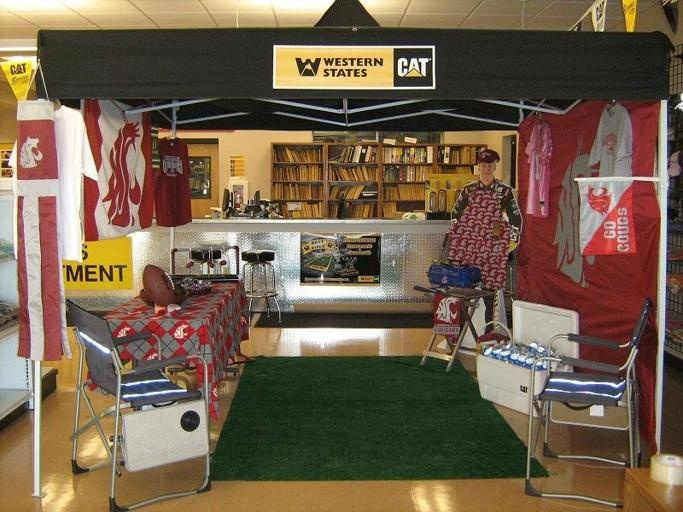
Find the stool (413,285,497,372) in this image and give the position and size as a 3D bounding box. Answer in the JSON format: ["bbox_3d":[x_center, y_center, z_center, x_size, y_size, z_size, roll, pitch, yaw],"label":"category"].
[{"bbox_3d":[1.146,0.754,5.929,0.732,0.682,0.729,3,-4,-7],"label":"stool"}]

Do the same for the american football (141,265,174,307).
[{"bbox_3d":[-1.463,0.262,4.575,0.245,0.344,0.106,-28,-7,-11],"label":"american football"}]

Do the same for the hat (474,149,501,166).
[{"bbox_3d":[1.684,-1.100,6.555,0.254,0.122,0.313,3,25,8],"label":"hat"}]

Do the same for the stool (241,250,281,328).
[{"bbox_3d":[-1.133,0.420,7.967,0.943,0.976,0.933,-2,5,-10],"label":"stool"}]

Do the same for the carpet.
[{"bbox_3d":[0.200,1.289,4.980,2.317,0.074,2.339,0,9,-2],"label":"carpet"}]

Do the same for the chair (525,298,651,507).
[{"bbox_3d":[1.695,0.891,4.012,0.816,1.245,1.284,6,10,27],"label":"chair"}]

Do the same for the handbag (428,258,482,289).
[{"bbox_3d":[1.201,0.219,5.998,0.290,0.179,0.375,-1,5,-15],"label":"handbag"}]

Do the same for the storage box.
[{"bbox_3d":[1.533,0.819,4.649,0.744,0.799,0.708,7,8,34],"label":"storage box"}]

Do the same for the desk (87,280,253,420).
[{"bbox_3d":[-1.605,0.627,5.808,1.509,0.682,3.243,13,-3,-10],"label":"desk"}]

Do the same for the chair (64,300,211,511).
[{"bbox_3d":[-1.353,0.916,3.799,0.765,1.229,0.948,-8,13,-43],"label":"chair"}]
